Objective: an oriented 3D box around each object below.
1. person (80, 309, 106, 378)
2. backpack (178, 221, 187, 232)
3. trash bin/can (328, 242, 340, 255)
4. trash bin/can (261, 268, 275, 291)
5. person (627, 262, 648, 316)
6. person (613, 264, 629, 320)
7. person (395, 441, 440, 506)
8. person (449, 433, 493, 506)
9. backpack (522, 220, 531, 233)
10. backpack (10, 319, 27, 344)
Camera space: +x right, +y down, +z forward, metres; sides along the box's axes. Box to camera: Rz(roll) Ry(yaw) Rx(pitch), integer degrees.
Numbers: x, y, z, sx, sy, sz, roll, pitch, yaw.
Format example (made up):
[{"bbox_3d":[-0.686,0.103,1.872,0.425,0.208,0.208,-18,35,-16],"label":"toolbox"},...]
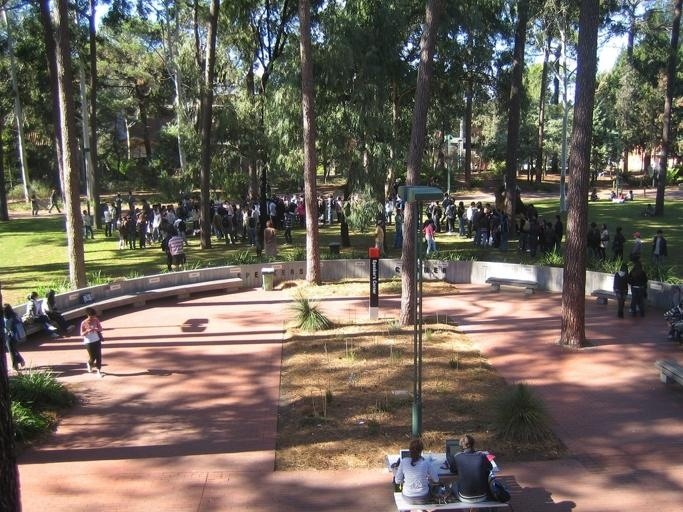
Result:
[{"bbox_3d":[-6.354,2.075,17.117,0.446,1.806,0.929,-7,14,-23],"label":"person"},{"bbox_3d":[-7.858,-1.452,33.013,0.346,0.721,0.407,1,2,10],"label":"backpack"},{"bbox_3d":[-0.276,-0.335,29.214,0.433,0.453,0.463,-1,3,-2],"label":"trash bin/can"},{"bbox_3d":[-2.802,0.856,25.972,0.521,0.748,0.858,-3,14,-8],"label":"trash bin/can"},{"bbox_3d":[9.225,0.960,20.800,0.485,1.862,1.375,6,15,29],"label":"person"},{"bbox_3d":[8.757,1.031,21.004,0.429,1.717,1.046,4,14,23],"label":"person"},{"bbox_3d":[1.278,3.719,11.354,0.653,1.303,1.024,4,34,7],"label":"person"},{"bbox_3d":[2.262,3.613,11.687,0.793,1.319,0.901,0,8,13],"label":"person"},{"bbox_3d":[8.429,-1.399,30.546,0.321,0.594,0.885,3,15,16],"label":"backpack"},{"bbox_3d":[-8.509,1.988,17.685,0.403,0.892,0.700,0,-3,-39],"label":"backpack"}]
